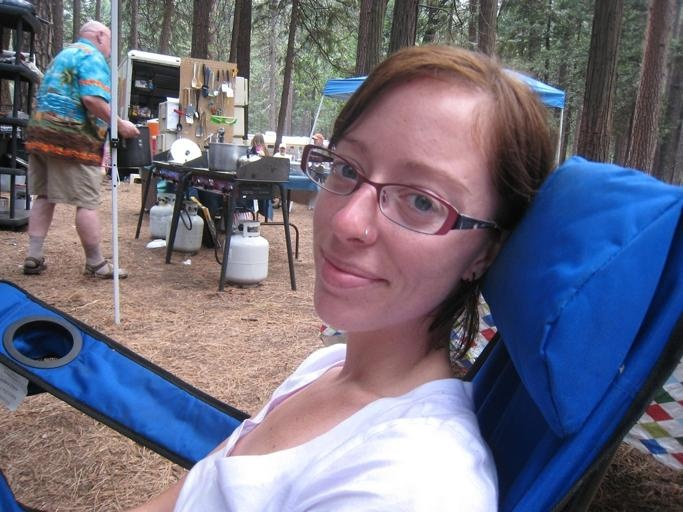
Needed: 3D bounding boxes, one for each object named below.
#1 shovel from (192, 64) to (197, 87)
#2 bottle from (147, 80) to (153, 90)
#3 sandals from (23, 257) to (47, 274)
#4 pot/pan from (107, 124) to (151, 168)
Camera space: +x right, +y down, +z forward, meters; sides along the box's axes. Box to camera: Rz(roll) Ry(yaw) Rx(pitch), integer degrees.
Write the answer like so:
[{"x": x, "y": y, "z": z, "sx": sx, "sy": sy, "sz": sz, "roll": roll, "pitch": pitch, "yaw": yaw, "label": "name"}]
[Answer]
[{"x": -2.133, "y": -2.691, "z": 8.058, "sx": 0.065, "sy": 0.303, "sz": 0.047, "roll": 0, "pitch": 4, "yaw": -10, "label": "shovel"}, {"x": -4.238, "y": -3.849, "z": 12.189, "sx": 0.083, "sy": 0.168, "sz": 0.225, "roll": 1, "pitch": 7, "yaw": -6, "label": "bottle"}, {"x": -2.683, "y": 0.066, "z": 4.874, "sx": 0.093, "sy": 0.111, "sz": 0.252, "roll": 5, "pitch": 14, "yaw": -14, "label": "sandals"}, {"x": -1.809, "y": -0.998, "z": 4.838, "sx": 0.231, "sy": 0.433, "sz": 0.437, "roll": 3, "pitch": 10, "yaw": -13, "label": "pot/pan"}]
